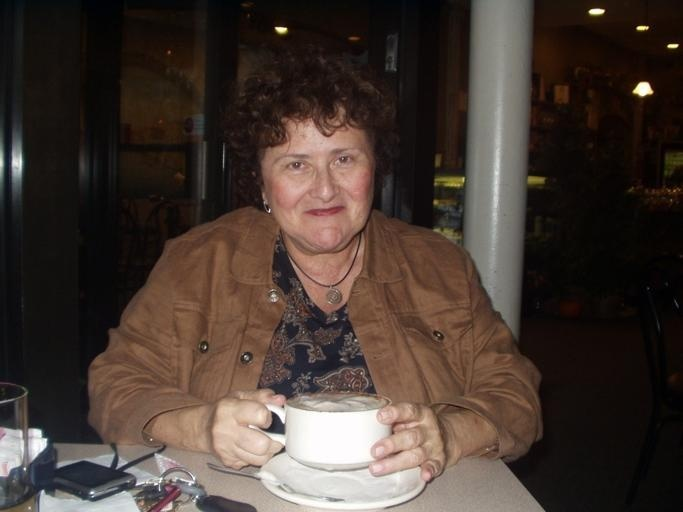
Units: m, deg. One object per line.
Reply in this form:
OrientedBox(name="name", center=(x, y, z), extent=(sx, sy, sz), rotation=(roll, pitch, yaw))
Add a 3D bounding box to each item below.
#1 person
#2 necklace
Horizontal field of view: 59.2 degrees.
OrientedBox(name="person", center=(-0.055, -0.054, 1.948), extent=(1.422, 1.292, 0.969), rotation=(3, 10, 10))
OrientedBox(name="necklace", center=(-0.085, 0.040, 2.153), extent=(0.242, 0.309, 0.025), rotation=(-9, 0, -12))
